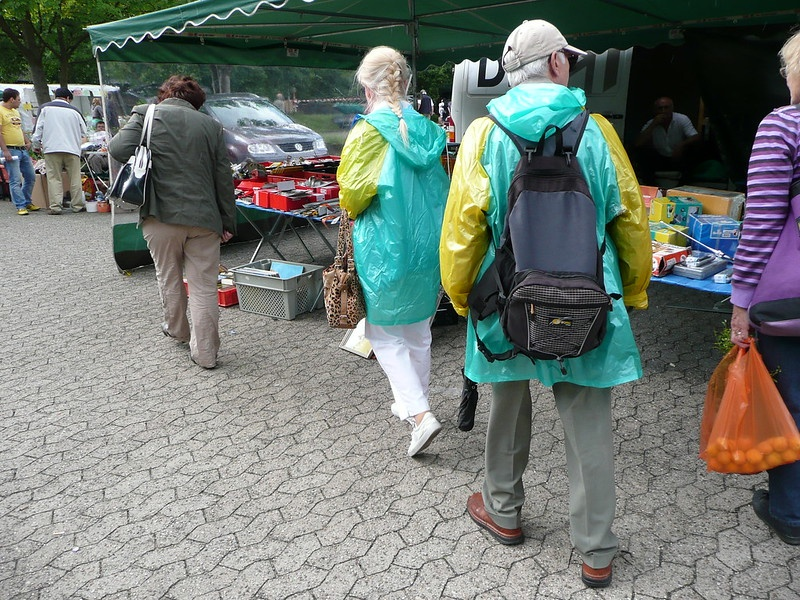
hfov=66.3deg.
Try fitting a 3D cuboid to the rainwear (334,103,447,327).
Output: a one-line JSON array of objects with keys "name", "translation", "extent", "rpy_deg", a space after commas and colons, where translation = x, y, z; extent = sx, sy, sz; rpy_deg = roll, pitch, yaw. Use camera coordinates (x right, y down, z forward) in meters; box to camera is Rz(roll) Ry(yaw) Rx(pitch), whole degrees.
[{"name": "rainwear", "translation": [-0.048, -0.373, 3.825], "extent": [0.742, 1.496, 0.572], "rpy_deg": [-3, 9, -24]}]

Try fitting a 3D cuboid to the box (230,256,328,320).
[{"name": "box", "translation": [-1.205, -0.173, 5.981], "extent": [0.807, 0.385, 0.548], "rpy_deg": [12, 22, 32]}]

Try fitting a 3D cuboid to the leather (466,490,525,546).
[{"name": "leather", "translation": [0.486, 1.112, 3.204], "extent": [0.138, 0.133, 0.341], "rpy_deg": [-8, 23, -25]}]

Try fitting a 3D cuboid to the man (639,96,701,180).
[{"name": "man", "translation": [3.003, -1.686, 6.870], "extent": [0.655, 1.057, 0.592], "rpy_deg": [3, 11, 29]}]

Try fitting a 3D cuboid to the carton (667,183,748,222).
[{"name": "carton", "translation": [2.333, -0.753, 4.615], "extent": [0.538, 0.283, 0.360], "rpy_deg": [7, 3, 26]}]

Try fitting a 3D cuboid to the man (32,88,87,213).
[{"name": "man", "translation": [-5.917, -2.620, 10.642], "extent": [0.792, 2.009, 0.723], "rpy_deg": [-2, 6, -28]}]

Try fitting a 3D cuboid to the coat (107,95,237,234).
[{"name": "coat", "translation": [-1.754, -1.061, 4.711], "extent": [0.916, 0.939, 0.525], "rpy_deg": [-4, 9, -33]}]

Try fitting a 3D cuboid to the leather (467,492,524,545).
[{"name": "leather", "translation": [0.482, 1.118, 3.204], "extent": [0.138, 0.131, 0.338], "rpy_deg": [-9, 24, -26]}]

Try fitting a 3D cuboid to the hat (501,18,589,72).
[{"name": "hat", "translation": [0.640, -1.082, 2.669], "extent": [0.326, 0.163, 0.207], "rpy_deg": [-17, 23, -2]}]

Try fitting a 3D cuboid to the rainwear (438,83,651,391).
[{"name": "rainwear", "translation": [0.671, -0.279, 2.741], "extent": [0.933, 1.191, 0.484], "rpy_deg": [-4, 15, 0]}]

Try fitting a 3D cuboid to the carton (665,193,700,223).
[{"name": "carton", "translation": [2.120, -0.662, 4.544], "extent": [0.225, 0.160, 0.259], "rpy_deg": [6, 21, 24]}]

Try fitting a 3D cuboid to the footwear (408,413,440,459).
[{"name": "footwear", "translation": [0.125, 0.800, 3.704], "extent": [0.119, 0.340, 0.146], "rpy_deg": [-25, 69, -46]}]

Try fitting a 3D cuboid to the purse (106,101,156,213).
[{"name": "purse", "translation": [-1.962, -1.044, 4.492], "extent": [0.421, 0.722, 0.384], "rpy_deg": [-8, 20, -15]}]
